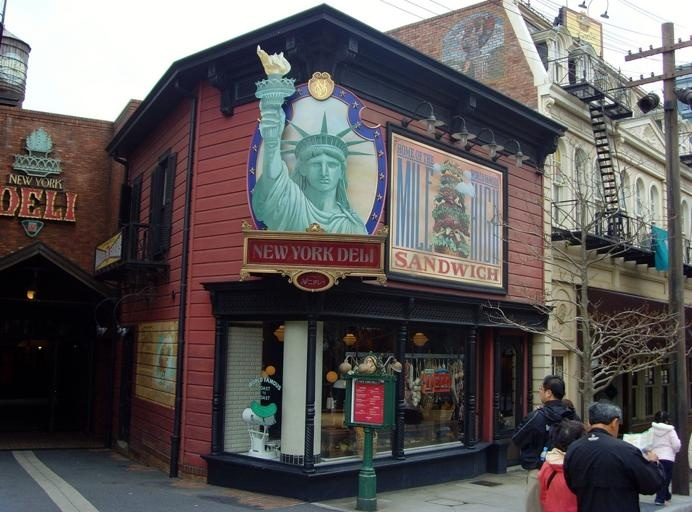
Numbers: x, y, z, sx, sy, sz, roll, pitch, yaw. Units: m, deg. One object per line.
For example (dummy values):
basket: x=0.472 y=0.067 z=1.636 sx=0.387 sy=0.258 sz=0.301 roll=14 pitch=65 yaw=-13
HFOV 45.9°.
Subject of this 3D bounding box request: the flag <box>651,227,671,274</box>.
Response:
flag: x=9.986 y=-0.230 z=25.915 sx=0.142 sy=1.433 sz=1.254 roll=-10 pitch=-18 yaw=42
